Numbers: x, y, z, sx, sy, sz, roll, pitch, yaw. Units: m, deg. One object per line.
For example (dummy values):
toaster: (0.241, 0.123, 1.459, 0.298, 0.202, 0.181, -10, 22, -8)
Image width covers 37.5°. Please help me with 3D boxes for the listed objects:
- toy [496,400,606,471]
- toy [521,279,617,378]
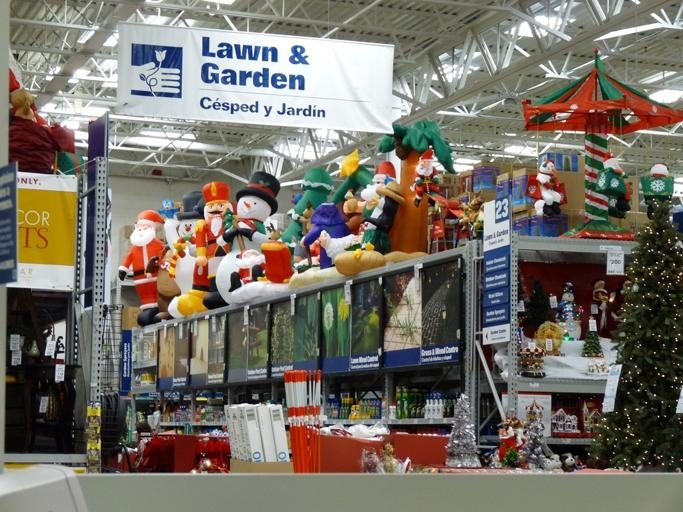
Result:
toy: (1.434, 1.278, 7.043, 0.540, 0.717, 0.531, 0, -12, 3)
toy: (1.853, 0.593, 8.302, 0.760, 0.861, 0.760, -2, -4, 12)
